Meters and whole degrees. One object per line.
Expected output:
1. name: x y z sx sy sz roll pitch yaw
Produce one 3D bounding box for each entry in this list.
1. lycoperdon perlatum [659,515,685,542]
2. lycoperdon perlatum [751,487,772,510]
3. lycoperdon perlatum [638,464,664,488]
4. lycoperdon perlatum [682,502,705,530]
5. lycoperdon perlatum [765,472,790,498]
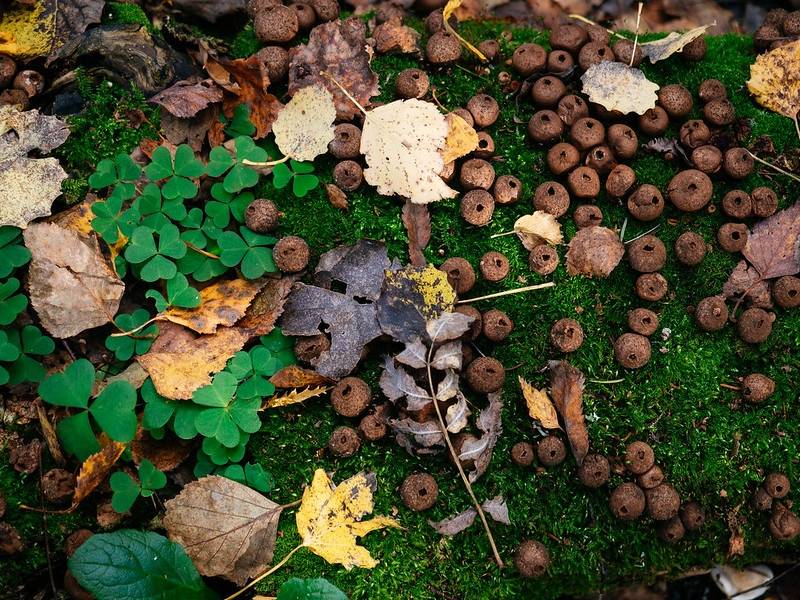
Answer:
1. lycoperdon perlatum: 2.224 1.870 6.046 0.170 0.130 0.216 10 36 21
2. lycoperdon perlatum: 3.017 1.657 6.238 0.135 0.145 0.175 1 32 4
3. lycoperdon perlatum: 2.045 1.456 6.027 0.171 0.172 0.171 -14 43 3
4. lycoperdon perlatum: 2.406 1.771 6.101 0.184 0.094 0.206 0 75 5
5. lycoperdon perlatum: 3.148 1.548 6.187 0.203 0.155 0.209 -3 75 4
